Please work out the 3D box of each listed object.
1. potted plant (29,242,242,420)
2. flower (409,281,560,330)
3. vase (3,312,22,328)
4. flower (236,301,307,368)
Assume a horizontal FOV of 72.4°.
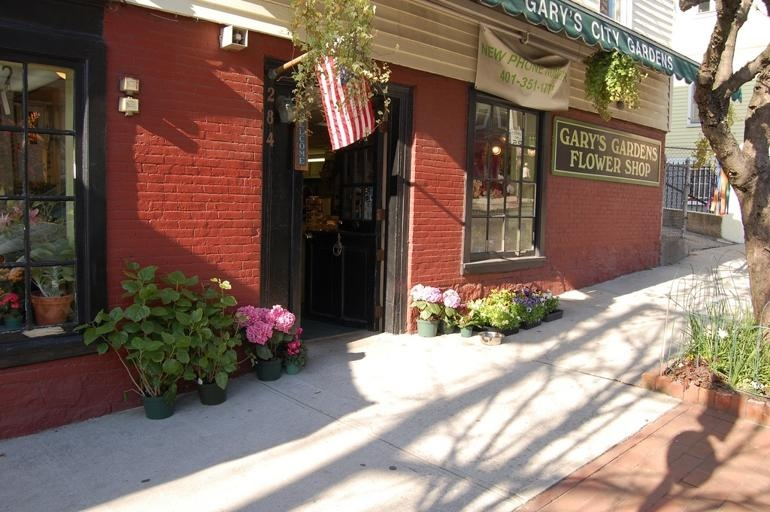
[{"bbox_3d":[-2.152,0.769,5.199,1.410,1.403,0.902,-3,15,-16],"label":"potted plant"},{"bbox_3d":[1.375,0.743,7.408,1.338,0.325,0.974,1,1,-40],"label":"flower"},{"bbox_3d":[-3.422,0.594,4.851,0.125,0.089,0.123,1,-4,-12],"label":"vase"},{"bbox_3d":[-1.318,0.831,5.893,0.681,0.670,0.682,4,12,17],"label":"flower"}]
